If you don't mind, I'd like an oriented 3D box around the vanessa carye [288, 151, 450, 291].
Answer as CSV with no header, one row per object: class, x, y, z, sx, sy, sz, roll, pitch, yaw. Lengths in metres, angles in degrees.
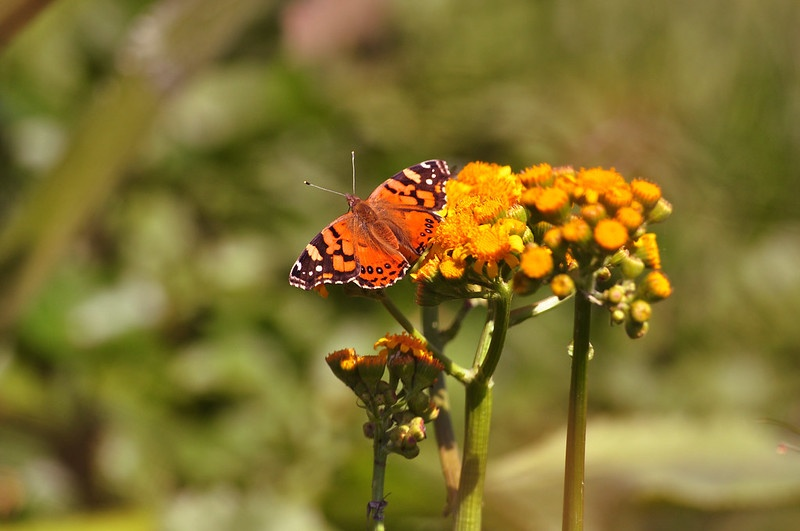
vanessa carye,-0.056,-0.150,2.479,0.350,0.399,0.336,0,104,4
